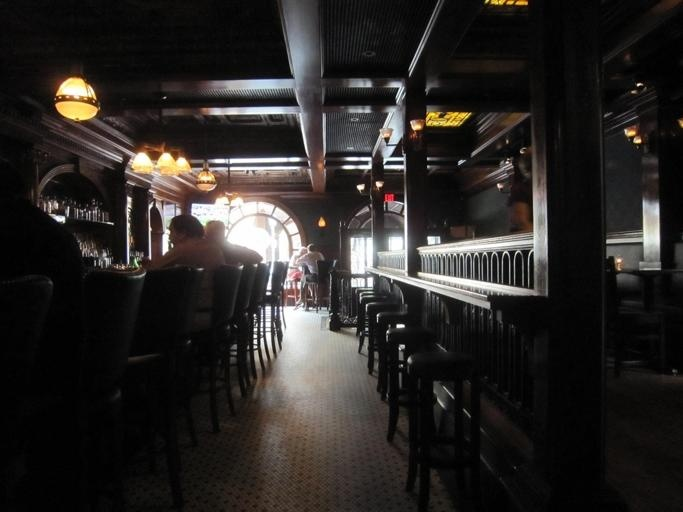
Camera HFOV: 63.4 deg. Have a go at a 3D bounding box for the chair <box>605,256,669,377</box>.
[{"bbox_3d":[3.147,0.537,5.864,0.559,1.216,1.926,2,8,30],"label":"chair"}]

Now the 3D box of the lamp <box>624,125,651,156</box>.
[{"bbox_3d":[3.634,-1.432,6.789,0.117,0.404,0.270,-13,16,-9],"label":"lamp"}]

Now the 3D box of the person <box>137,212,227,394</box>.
[{"bbox_3d":[-1.384,0.139,4.856,0.549,1.009,0.463,6,9,-10],"label":"person"}]

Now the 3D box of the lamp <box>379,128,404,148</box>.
[{"bbox_3d":[0.718,-1.784,8.384,0.415,0.317,0.232,-1,5,-17],"label":"lamp"}]

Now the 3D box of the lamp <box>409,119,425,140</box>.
[{"bbox_3d":[0.908,-1.509,6.624,0.183,0.246,0.227,-1,7,8],"label":"lamp"}]

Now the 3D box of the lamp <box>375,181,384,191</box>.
[{"bbox_3d":[0.657,-1.231,9.600,0.152,0.130,0.163,-2,-5,6],"label":"lamp"}]
